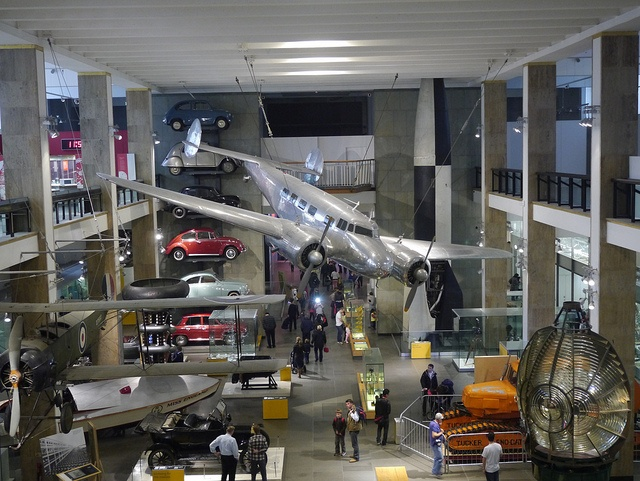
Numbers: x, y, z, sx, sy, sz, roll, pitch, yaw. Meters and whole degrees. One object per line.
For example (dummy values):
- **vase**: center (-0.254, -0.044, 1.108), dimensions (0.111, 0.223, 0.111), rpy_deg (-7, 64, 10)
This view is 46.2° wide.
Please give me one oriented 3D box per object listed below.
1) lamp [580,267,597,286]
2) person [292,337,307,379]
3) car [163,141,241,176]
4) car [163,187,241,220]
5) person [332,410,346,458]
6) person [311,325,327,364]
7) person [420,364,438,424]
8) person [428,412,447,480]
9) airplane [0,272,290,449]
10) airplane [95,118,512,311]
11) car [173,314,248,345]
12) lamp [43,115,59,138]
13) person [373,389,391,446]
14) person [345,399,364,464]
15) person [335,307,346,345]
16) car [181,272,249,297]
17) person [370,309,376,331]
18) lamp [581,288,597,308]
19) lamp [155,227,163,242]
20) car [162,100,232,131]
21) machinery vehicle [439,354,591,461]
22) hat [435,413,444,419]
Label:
- **lamp**: center (6.998, 0.954, 19.542), dimensions (0.195, 0.515, 0.499), rpy_deg (-1, 3, -5)
- **person**: center (-0.687, 3.812, 24.454), dimensions (0.391, 1.409, 1.046), rpy_deg (-1, 3, -1)
- **car**: center (-4.787, -3.177, 30.173), dimensions (2.364, 1.268, 1.480), rpy_deg (0, 6, -5)
- **car**: center (-4.710, -1.439, 30.420), dimensions (2.645, 1.338, 1.492), rpy_deg (-2, 5, -8)
- **person**: center (0.533, 5.086, 19.853), dimensions (0.312, 1.254, 0.687), rpy_deg (-1, 3, 1)
- **person**: center (-0.030, 3.542, 25.731), dimensions (0.390, 1.318, 0.904), rpy_deg (-1, 3, 0)
- **person**: center (3.115, 4.368, 21.567), dimensions (0.640, 1.601, 0.476), rpy_deg (-4, 6, -39)
- **person**: center (2.972, 5.288, 18.955), dimensions (0.366, 1.425, 0.377), rpy_deg (-2, 3, -11)
- **airplane**: center (-5.243, 3.241, 20.089), dimensions (5.282, 4.060, 7.069), rpy_deg (-2, 3, -16)
- **airplane**: center (-0.479, -0.743, 21.803), dimensions (8.279, 2.064, 6.869), rpy_deg (12, 14, -32)
- **car**: center (-4.087, 3.207, 27.215), dimensions (2.293, 1.147, 1.460), rpy_deg (-1, 0, -1)
- **lamp**: center (-7.175, -3.056, 20.088), dimensions (0.348, 0.540, 1.154), rpy_deg (-2, 3, -18)
- **person**: center (1.691, 4.815, 20.388), dimensions (0.386, 1.576, 0.726), rpy_deg (-1, 3, 3)
- **person**: center (0.899, 4.976, 19.820), dimensions (0.391, 1.590, 0.906), rpy_deg (-1, 3, 2)
- **person**: center (0.792, 3.185, 27.853), dimensions (0.342, 1.259, 0.535), rpy_deg (-1, 3, 0)
- **car**: center (-4.081, 1.775, 28.897), dimensions (2.764, 1.052, 1.301), rpy_deg (-1, 6, -4)
- **person**: center (2.173, 3.228, 30.401), dimensions (0.166, 0.807, 0.651), rpy_deg (-2, 3, -12)
- **lamp**: center (7.009, 1.510, 19.578), dimensions (0.235, 0.637, 0.537), rpy_deg (-1, 3, 2)
- **lamp**: center (-6.162, -0.231, 29.267), dimensions (0.594, 0.457, 0.164), rpy_deg (-2, -8, 40)
- **car**: center (-4.860, -4.943, 29.975), dimensions (2.133, 1.075, 1.297), rpy_deg (-1, 6, -5)
- **machinery vehicle**: center (4.523, 4.641, 20.432), dimensions (3.345, 2.301, 2.248), rpy_deg (1, -3, 1)
- **hat**: center (3.030, 4.505, 19.104), dimensions (0.157, 0.173, 0.129), rpy_deg (-13, 19, 6)
